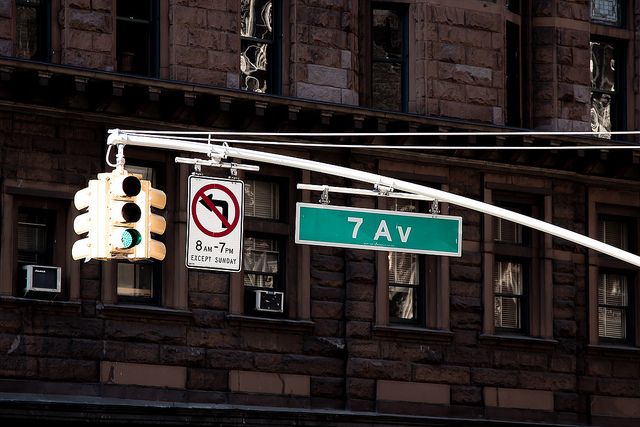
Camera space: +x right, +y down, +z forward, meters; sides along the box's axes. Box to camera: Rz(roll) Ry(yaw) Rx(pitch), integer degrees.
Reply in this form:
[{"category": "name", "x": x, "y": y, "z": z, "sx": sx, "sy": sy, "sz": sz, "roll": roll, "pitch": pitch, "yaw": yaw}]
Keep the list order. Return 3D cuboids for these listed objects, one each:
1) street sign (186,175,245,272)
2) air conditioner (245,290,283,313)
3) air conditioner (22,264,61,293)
[{"category": "street sign", "x": -2.421, "y": 0.226, "z": 49.296, "sx": 1.255, "sy": 2.068, "sz": 0.641, "roll": 2, "pitch": -11, "yaw": -5}, {"category": "air conditioner", "x": -1.500, "y": 2.434, "z": 56.410, "sx": 0.986, "sy": 0.618, "sz": 0.608, "roll": 8, "pitch": -8, "yaw": -29}, {"category": "air conditioner", "x": -7.057, "y": 1.627, "z": 54.376, "sx": 0.524, "sy": 0.647, "sz": 0.972, "roll": -1, "pitch": -5, "yaw": 38}]
